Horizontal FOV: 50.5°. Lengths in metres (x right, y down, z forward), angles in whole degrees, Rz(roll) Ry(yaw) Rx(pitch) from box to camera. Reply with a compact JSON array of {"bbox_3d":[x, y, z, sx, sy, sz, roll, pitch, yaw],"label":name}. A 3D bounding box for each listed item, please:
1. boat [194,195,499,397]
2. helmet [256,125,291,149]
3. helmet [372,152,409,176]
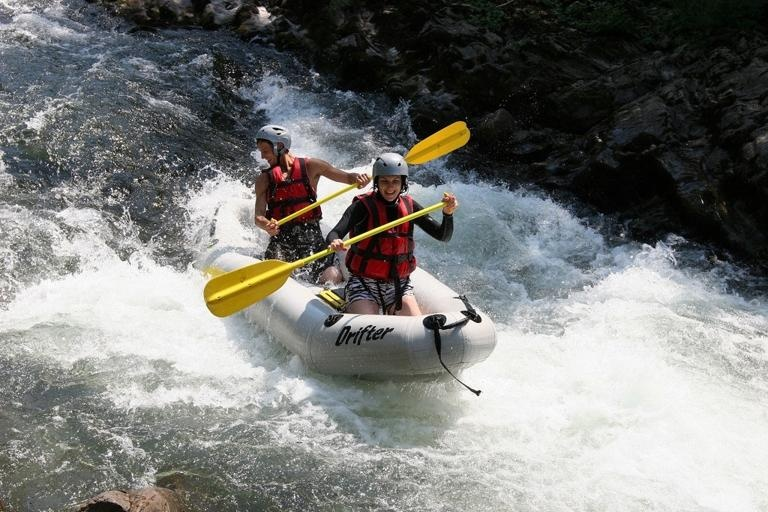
[{"bbox_3d":[-0.538,0.449,8.857,1.653,3.557,0.825,-27,-52,-40],"label":"boat"},{"bbox_3d":[-1.304,-1.442,9.668,0.366,0.263,0.205,-18,-55,-18],"label":"helmet"},{"bbox_3d":[0.059,-0.940,8.870,0.318,0.242,0.245,101,-170,-53],"label":"helmet"}]
